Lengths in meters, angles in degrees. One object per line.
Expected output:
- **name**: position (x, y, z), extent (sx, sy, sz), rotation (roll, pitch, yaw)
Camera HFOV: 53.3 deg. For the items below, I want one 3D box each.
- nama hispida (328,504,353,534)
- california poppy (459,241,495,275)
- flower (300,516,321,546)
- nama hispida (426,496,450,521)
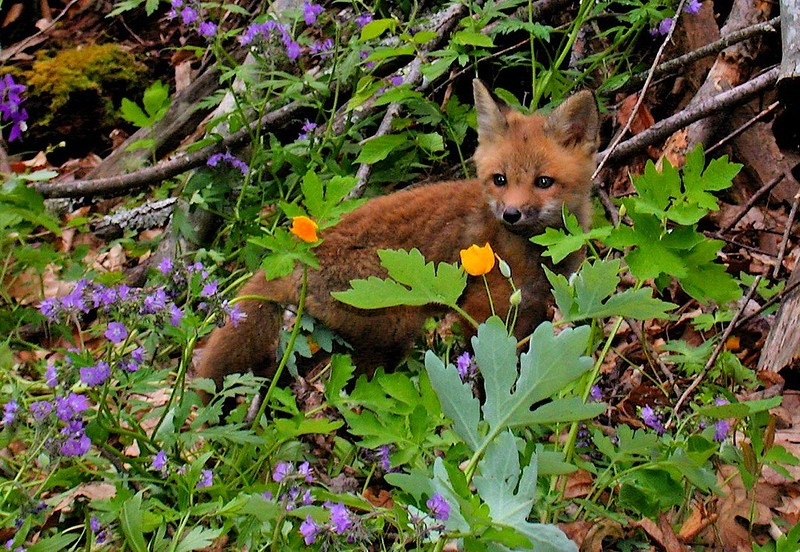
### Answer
- **nama hispida**: position (-0.330, 1.340, 4.430), extent (0.073, 0.137, 0.160), rotation (-2, 90, 30)
- **california poppy**: position (0.479, -0.095, 4.948), extent (0.180, 0.225, 0.239), rotation (-10, 92, 5)
- **flower**: position (-0.509, 1.439, 4.548), extent (0.137, 0.063, 0.159), rotation (11, 103, 8)
- **nama hispida**: position (0.213, 1.262, 4.318), extent (0.066, 0.124, 0.128), rotation (-25, 66, -3)
